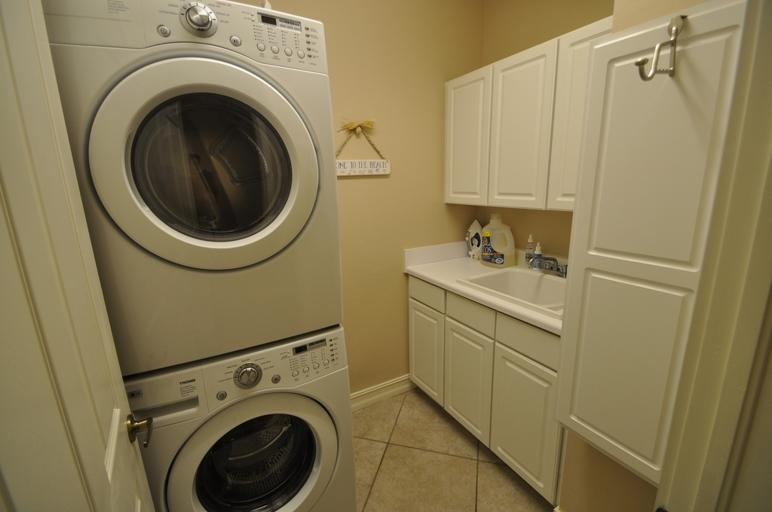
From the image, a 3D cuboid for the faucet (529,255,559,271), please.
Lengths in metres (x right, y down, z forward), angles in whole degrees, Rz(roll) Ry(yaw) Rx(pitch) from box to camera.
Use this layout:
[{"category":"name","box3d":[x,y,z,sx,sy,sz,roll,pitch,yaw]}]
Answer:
[{"category":"faucet","box3d":[0.799,0.019,2.614,0.065,0.064,0.114,-11,20,-31]}]

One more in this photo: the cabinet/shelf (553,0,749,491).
[{"category":"cabinet/shelf","box3d":[0.796,-0.011,1.665,0.430,1.449,0.249,9,19,37]}]

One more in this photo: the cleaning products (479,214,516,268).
[{"category":"cleaning products","box3d":[0.628,-0.076,2.882,0.207,0.290,0.110,19,33,42]}]

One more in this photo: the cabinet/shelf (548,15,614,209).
[{"category":"cabinet/shelf","box3d":[0.880,-0.525,2.297,0.084,0.694,0.271,27,17,34]}]
